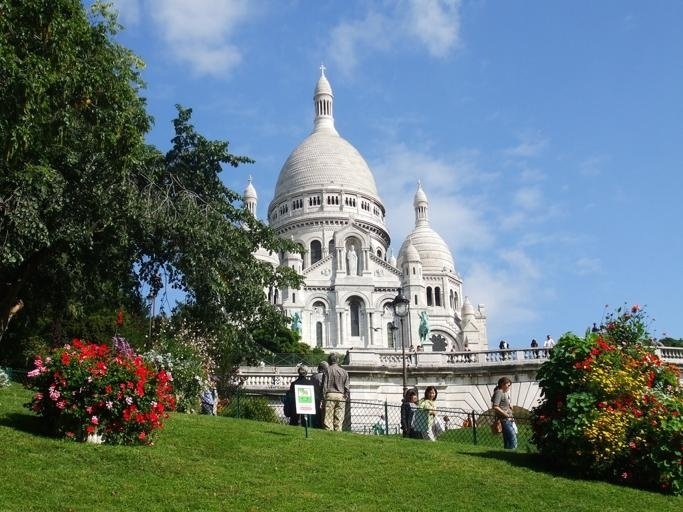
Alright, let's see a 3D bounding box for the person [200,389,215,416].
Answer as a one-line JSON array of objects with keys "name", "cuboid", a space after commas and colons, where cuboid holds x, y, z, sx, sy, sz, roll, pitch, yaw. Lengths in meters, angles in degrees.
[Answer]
[{"name": "person", "cuboid": [-4.650, 5.086, 27.001, 0.436, 0.918, 1.070, 4, 2, -9]}]
